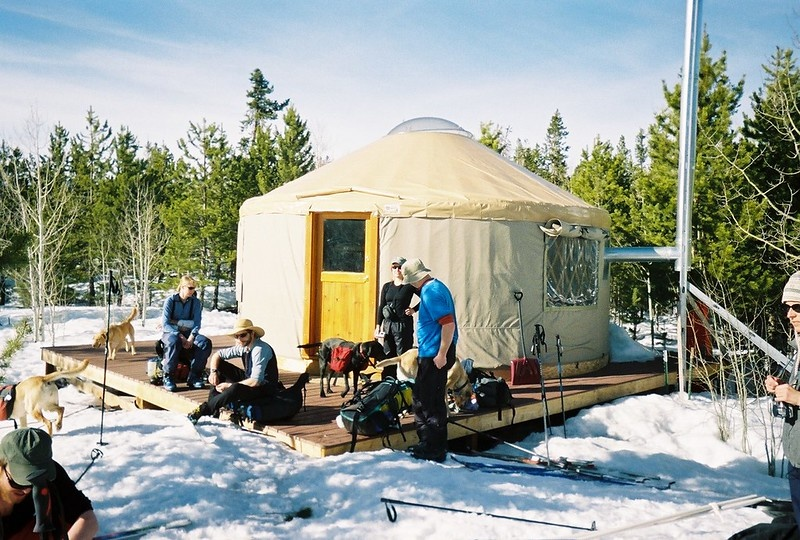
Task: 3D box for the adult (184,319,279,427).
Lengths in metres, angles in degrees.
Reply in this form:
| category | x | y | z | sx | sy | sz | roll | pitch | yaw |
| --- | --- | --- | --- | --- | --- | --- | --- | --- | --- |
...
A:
| category | x | y | z | sx | sy | sz | roll | pitch | yaw |
| --- | --- | --- | --- | --- | --- | --- | --- | --- | --- |
| adult | -2.591 | 1.568 | 10.937 | 0.992 | 1.532 | 1.583 | 7 | 9 | 35 |

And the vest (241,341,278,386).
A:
| category | x | y | z | sx | sy | sz | roll | pitch | yaw |
| --- | --- | --- | --- | --- | --- | --- | --- | --- | --- |
| vest | -2.186 | 1.342 | 11.144 | 0.513 | 0.811 | 0.975 | 1 | -5 | -33 |

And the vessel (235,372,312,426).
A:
| category | x | y | z | sx | sy | sz | roll | pitch | yaw |
| --- | --- | --- | --- | --- | --- | --- | --- | --- | --- |
| vessel | -1.937 | 1.945 | 10.935 | 1.058 | 0.706 | 0.660 | 2 | -5 | -21 |

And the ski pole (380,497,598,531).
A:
| category | x | y | z | sx | sy | sz | roll | pitch | yaw |
| --- | --- | --- | --- | --- | --- | --- | --- | --- | --- |
| ski pole | 1.059 | 3.181 | 9.356 | 2.498 | 0.545 | 0.189 | 4 | -3 | 3 |

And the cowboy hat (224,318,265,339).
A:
| category | x | y | z | sx | sy | sz | roll | pitch | yaw |
| --- | --- | --- | --- | --- | --- | --- | --- | --- | --- |
| cowboy hat | -2.270 | 0.859 | 10.862 | 0.355 | 0.178 | 0.414 | -21 | -8 | 25 |

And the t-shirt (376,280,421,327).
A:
| category | x | y | z | sx | sy | sz | roll | pitch | yaw |
| --- | --- | --- | --- | --- | --- | --- | --- | --- | --- |
| t-shirt | -0.012 | 0.553 | 11.648 | 0.687 | 0.749 | 0.382 | -1 | -7 | 23 |

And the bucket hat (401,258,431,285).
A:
| category | x | y | z | sx | sy | sz | roll | pitch | yaw |
| --- | --- | --- | --- | --- | --- | --- | --- | --- | --- |
| bucket hat | 0.233 | 0.004 | 10.368 | 0.384 | 0.221 | 0.328 | -26 | 11 | -27 |

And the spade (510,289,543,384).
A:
| category | x | y | z | sx | sy | sz | roll | pitch | yaw |
| --- | --- | --- | --- | --- | --- | --- | --- | --- | --- |
| spade | 2.150 | 1.190 | 12.452 | 0.517 | 1.673 | 1.292 | -1 | -2 | 9 |

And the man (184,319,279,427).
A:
| category | x | y | z | sx | sy | sz | roll | pitch | yaw |
| --- | --- | --- | --- | --- | --- | --- | --- | --- | --- |
| man | -2.590 | 1.564 | 10.949 | 0.999 | 1.493 | 1.556 | 7 | 9 | 35 |

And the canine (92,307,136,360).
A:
| category | x | y | z | sx | sy | sz | roll | pitch | yaw |
| --- | --- | --- | --- | --- | --- | --- | --- | --- | --- |
| canine | -5.440 | 1.202 | 13.834 | 0.781 | 0.980 | 1.807 | 0 | -2 | -23 |

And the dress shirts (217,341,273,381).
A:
| category | x | y | z | sx | sy | sz | roll | pitch | yaw |
| --- | --- | --- | --- | --- | --- | --- | --- | --- | --- |
| dress shirts | -2.293 | 1.368 | 10.951 | 0.610 | 0.650 | 0.856 | 9 | -3 | -44 |

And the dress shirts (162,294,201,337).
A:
| category | x | y | z | sx | sy | sz | roll | pitch | yaw |
| --- | --- | --- | --- | --- | --- | --- | --- | --- | --- |
| dress shirts | -3.672 | 0.789 | 12.191 | 0.626 | 0.824 | 0.503 | 4 | -20 | -26 |

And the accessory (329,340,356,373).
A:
| category | x | y | z | sx | sy | sz | roll | pitch | yaw |
| --- | --- | --- | --- | --- | --- | --- | --- | --- | --- |
| accessory | -0.942 | 1.408 | 11.794 | 0.365 | 0.485 | 0.201 | -3 | -19 | 32 |

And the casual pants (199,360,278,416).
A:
| category | x | y | z | sx | sy | sz | roll | pitch | yaw |
| --- | --- | --- | --- | --- | --- | --- | --- | --- | --- |
| casual pants | -2.538 | 1.854 | 10.938 | 0.939 | 0.453 | 0.810 | -14 | 5 | -27 |

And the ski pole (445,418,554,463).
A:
| category | x | y | z | sx | sy | sz | roll | pitch | yaw |
| --- | --- | --- | --- | --- | --- | --- | --- | --- | --- |
| ski pole | 1.520 | 2.697 | 11.377 | 1.503 | 0.137 | 0.282 | 23 | 0 | 32 |

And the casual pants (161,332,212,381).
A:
| category | x | y | z | sx | sy | sz | roll | pitch | yaw |
| --- | --- | --- | --- | --- | --- | --- | --- | --- | --- |
| casual pants | -3.542 | 1.506 | 12.268 | 0.802 | 1.029 | 0.779 | 5 | -18 | -17 |
